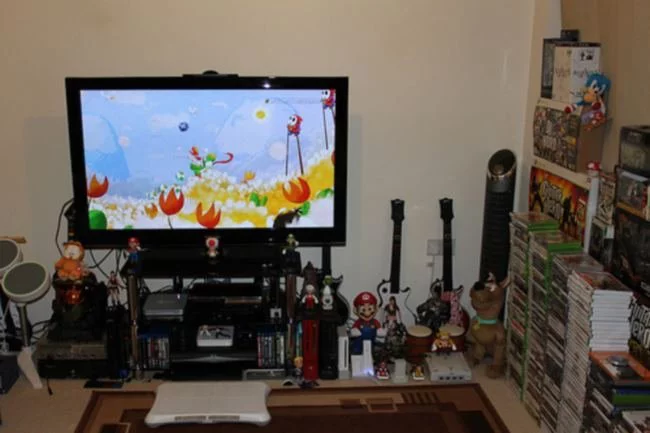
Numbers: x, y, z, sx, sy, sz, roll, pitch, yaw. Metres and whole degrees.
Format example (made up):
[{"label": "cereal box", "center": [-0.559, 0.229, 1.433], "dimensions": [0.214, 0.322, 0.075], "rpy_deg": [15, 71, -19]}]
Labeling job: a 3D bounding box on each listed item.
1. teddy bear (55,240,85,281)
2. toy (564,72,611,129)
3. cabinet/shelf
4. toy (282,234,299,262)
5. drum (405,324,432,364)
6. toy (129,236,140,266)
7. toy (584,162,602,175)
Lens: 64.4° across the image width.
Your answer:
[{"label": "teddy bear", "center": [-2.032, 0.360, 4.107], "dimensions": [0.227, 0.307, 0.202], "rpy_deg": [-3, 20, -40]}, {"label": "toy", "center": [1.875, -0.828, 3.663], "dimensions": [0.220, 0.410, 0.307], "rpy_deg": [-21, 22, -34]}, {"label": "cabinet/shelf", "center": [-0.967, 0.961, 4.558], "dimensions": [1.407, 0.957, 0.765], "rpy_deg": [0, -14, -9]}, {"label": "toy", "center": [-0.289, 0.264, 4.200], "dimensions": [0.137, 0.217, 0.076], "rpy_deg": [-6, 17, -12]}, {"label": "drum", "center": [0.779, 1.102, 4.444], "dimensions": [0.257, 0.272, 0.255], "rpy_deg": [3, 7, -17]}, {"label": "toy", "center": [-1.513, 0.283, 4.081], "dimensions": [0.105, 0.223, 0.082], "rpy_deg": [-5, 0, -22]}, {"label": "toy", "center": [1.883, -0.333, 3.641], "dimensions": [0.094, 0.087, 0.095], "rpy_deg": [1, 3, -2]}]
